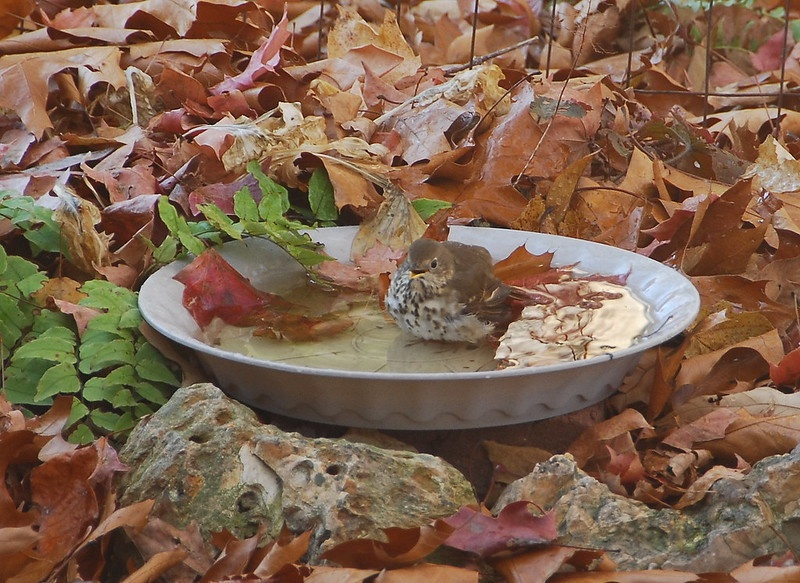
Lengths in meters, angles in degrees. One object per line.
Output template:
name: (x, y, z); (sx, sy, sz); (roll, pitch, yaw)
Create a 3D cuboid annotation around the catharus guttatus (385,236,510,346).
catharus guttatus: (0.189, -0.004, 3.999); (0.439, 0.314, 0.576); (7, 19, 31)
